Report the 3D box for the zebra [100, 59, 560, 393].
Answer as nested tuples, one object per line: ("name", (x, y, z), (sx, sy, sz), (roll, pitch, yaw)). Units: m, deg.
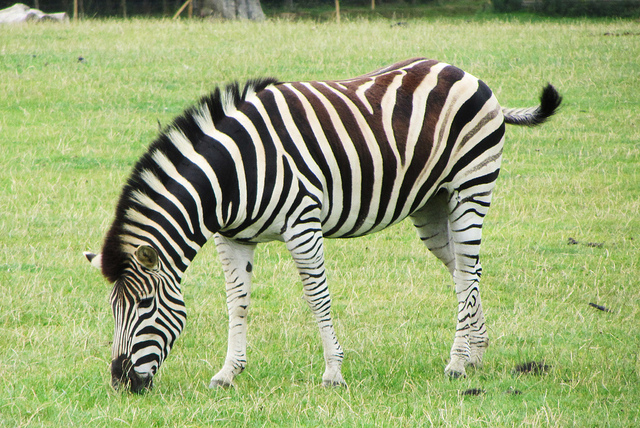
("zebra", (0.436, 0.196, 21.138), (8.995, 5.809, 2.421), (-11, 16, -21))
